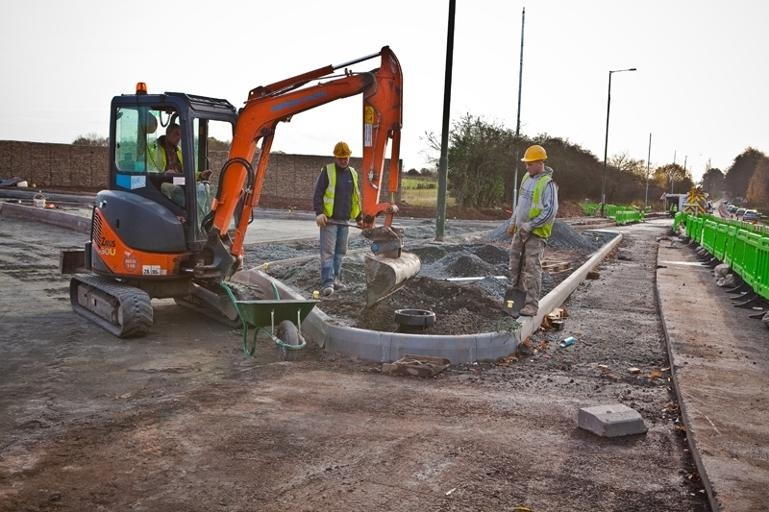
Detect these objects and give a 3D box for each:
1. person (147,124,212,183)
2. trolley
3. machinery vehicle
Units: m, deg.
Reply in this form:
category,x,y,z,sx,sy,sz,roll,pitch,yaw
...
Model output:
category,x,y,z,sx,sy,sz,roll,pitch,yaw
person,-3.292,-1.650,8.801,1.007,0.846,0.668,13,16,15
trolley,-1.670,0.877,7.920,0.990,1.049,1.989,0,1,-35
machinery vehicle,-2.559,-1.028,9.039,5.328,4.187,3.011,8,10,22
